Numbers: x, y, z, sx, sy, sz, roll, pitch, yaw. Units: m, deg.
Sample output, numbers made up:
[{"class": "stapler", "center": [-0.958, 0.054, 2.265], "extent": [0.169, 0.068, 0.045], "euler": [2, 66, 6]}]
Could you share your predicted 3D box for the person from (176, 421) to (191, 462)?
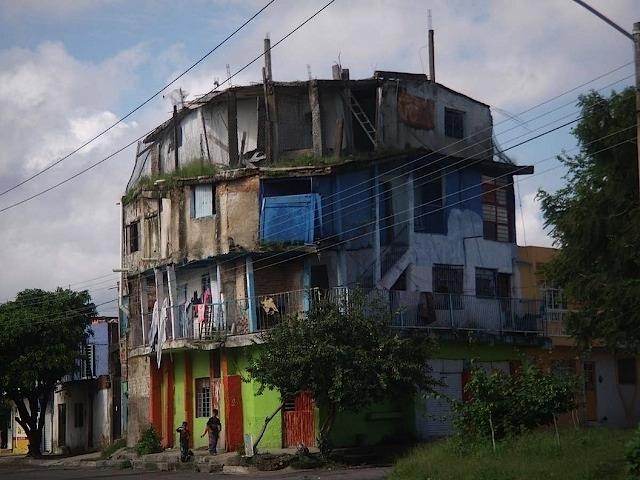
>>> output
[{"class": "person", "center": [-5.394, 8.008, 43.175], "extent": [0.426, 1.633, 1.082], "euler": [-3, -13, -9]}]
